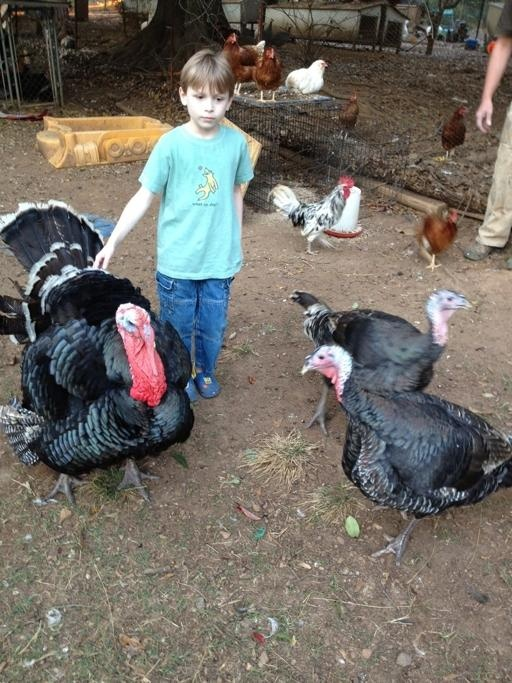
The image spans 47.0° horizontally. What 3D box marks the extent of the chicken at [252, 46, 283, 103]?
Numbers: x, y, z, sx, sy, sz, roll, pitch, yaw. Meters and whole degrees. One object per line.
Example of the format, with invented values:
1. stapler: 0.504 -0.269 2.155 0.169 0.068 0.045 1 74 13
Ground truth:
1. chicken: 0.133 -3.092 6.815 0.286 0.552 0.460 2 34 -7

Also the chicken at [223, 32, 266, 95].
1. chicken: -0.190 -3.612 7.528 0.331 0.632 0.648 36 46 29

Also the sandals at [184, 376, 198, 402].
1. sandals: -0.448 0.337 4.032 0.073 0.075 0.201 -1 17 -7

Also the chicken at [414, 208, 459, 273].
1. chicken: 1.832 -1.074 6.014 0.339 0.625 0.535 -26 33 -26

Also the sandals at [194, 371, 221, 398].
1. sandals: -0.333 0.304 4.127 0.119 0.086 0.226 -11 32 -19

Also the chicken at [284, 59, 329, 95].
1. chicken: 0.627 -3.416 7.633 0.469 0.421 0.526 7 33 0

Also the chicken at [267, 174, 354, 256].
1. chicken: 0.665 -1.377 6.428 1.092 0.830 0.399 12 41 37
